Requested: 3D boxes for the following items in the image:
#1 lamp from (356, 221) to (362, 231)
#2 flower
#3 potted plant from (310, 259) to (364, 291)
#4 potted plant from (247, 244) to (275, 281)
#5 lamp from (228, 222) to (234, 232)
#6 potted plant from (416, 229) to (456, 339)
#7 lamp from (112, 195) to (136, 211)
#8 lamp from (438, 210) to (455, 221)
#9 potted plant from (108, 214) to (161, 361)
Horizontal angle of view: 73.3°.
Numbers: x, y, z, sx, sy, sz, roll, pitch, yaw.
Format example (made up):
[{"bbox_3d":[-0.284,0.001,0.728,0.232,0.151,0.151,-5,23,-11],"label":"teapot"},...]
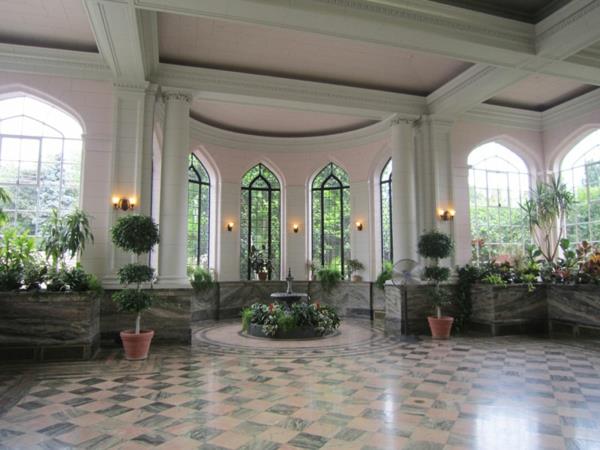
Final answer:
[{"bbox_3d":[2.181,0.043,14.828,0.227,0.300,0.077,-1,-3,20],"label":"lamp"},{"bbox_3d":[-0.474,2.466,10.586,1.320,0.412,1.372,2,-5,-26],"label":"flower"},{"bbox_3d":[1.232,1.924,14.743,1.342,0.651,1.348,-4,9,-11],"label":"potted plant"},{"bbox_3d":[-1.184,1.362,15.225,1.207,1.432,1.158,1,-12,-11],"label":"potted plant"},{"bbox_3d":[-2.634,0.073,14.847,0.342,0.344,0.239,3,-10,-29],"label":"lamp"},{"bbox_3d":[3.631,1.501,10.828,0.924,2.696,2.063,-1,-2,18],"label":"potted plant"},{"bbox_3d":[-4.195,-0.517,9.570,0.391,0.249,0.119,0,-4,-21],"label":"lamp"},{"bbox_3d":[4.199,-0.277,11.626,0.577,0.344,0.270,1,-8,-10],"label":"lamp"},{"bbox_3d":[-3.438,1.254,8.419,0.868,2.912,1.328,1,-3,-22],"label":"potted plant"}]
